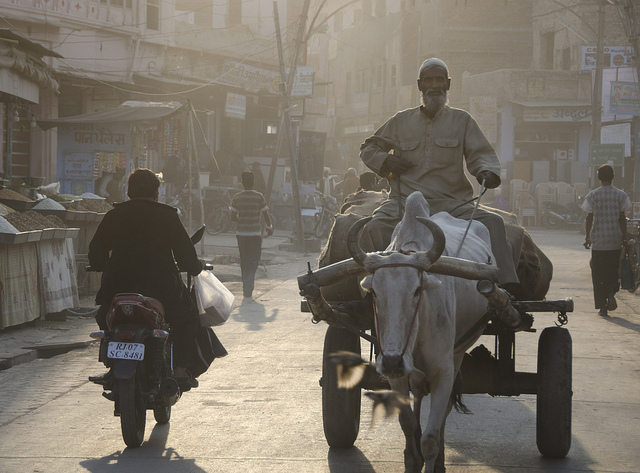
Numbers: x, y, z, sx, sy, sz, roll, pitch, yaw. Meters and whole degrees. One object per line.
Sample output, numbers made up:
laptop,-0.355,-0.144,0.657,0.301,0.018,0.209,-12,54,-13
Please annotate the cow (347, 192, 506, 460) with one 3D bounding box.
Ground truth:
cow,0.934,0.861,7.516,1.072,2.152,3.105,-1,-2,17

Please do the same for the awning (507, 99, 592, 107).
awning,9.431,-5.565,36.059,3.109,0.363,2.256,1,7,8

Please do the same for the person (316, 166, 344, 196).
person,0.355,-2.133,34.575,0.842,1.059,1.787,2,8,7

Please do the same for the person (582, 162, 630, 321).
person,4.402,0.041,13.405,0.661,2.270,1.209,2,7,19

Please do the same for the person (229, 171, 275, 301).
person,-1.114,-0.027,14.201,0.629,2.050,0.714,-1,7,-7

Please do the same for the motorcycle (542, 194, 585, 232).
motorcycle,9.187,-0.878,31.975,1.833,1.492,1.008,4,-10,11

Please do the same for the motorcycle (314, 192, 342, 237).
motorcycle,0.217,-0.762,26.438,0.712,1.214,3.402,0,7,1

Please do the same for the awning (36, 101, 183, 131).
awning,-4.613,-2.712,19.431,2.887,0.533,0.843,-3,7,-21

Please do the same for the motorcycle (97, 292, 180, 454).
motorcycle,-1.628,1.167,7.913,0.718,1.334,0.896,-2,7,-15
